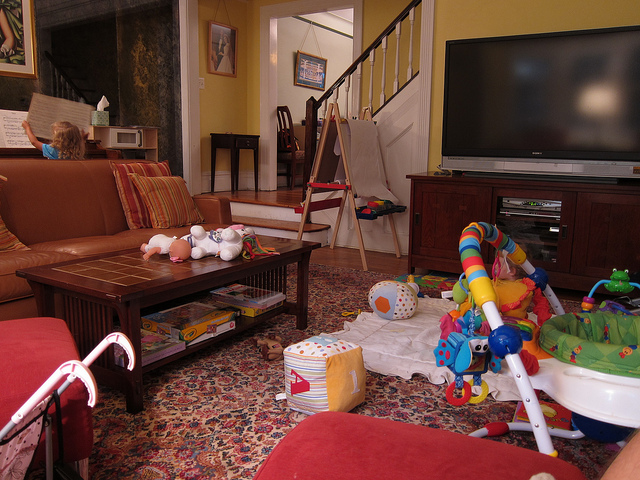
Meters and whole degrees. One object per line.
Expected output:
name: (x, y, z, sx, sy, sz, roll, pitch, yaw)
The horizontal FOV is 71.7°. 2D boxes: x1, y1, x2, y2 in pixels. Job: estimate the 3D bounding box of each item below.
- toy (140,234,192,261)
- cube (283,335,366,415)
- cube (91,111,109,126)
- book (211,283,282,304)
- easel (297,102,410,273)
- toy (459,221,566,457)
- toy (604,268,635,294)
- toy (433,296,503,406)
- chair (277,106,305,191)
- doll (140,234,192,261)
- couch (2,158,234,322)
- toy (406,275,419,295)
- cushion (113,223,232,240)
toy: (-0.781, 0.032, 2.282, 0.183, 0.072, 0.151, 11, 16, 26)
cube: (0.007, 0.561, 1.931, 0.346, 0.304, 0.354, -3, 5, 4)
cube: (-2.644, -1.469, 5.341, 0.177, 0.185, 0.181, -1, 5, -24)
book: (-0.435, 0.309, 2.637, 0.344, 0.032, 0.256, 6, 15, 23)
easel: (0.283, -0.544, 4.339, 1.018, 1.500, 1.061, -5, 14, -24)
toy: (0.687, 0.361, 1.579, 0.268, 0.563, 0.673, -27, 26, 24)
toy: (1.298, 0.178, 1.902, 0.099, 0.074, 0.102, -1, -9, 29)
toy: (0.465, 0.346, 1.394, 0.189, 0.354, 0.152, -1, 5, -3)
chair: (-0.448, -1.421, 6.773, 0.374, 1.474, 0.396, -4, 14, -30)
doll: (-0.785, 0.030, 2.287, 0.185, 0.071, 0.148, 13, 17, 23)
couch: (-1.422, -0.165, 2.966, 0.770, 0.766, 1.537, 10, 17, 36)
toy: (0.639, 0.306, 3.060, 0.052, 0.055, 0.131, 31, 9, 0)
cushion: (-0.973, -0.057, 2.813, 0.216, 0.035, 0.316, 12, 15, 32)
